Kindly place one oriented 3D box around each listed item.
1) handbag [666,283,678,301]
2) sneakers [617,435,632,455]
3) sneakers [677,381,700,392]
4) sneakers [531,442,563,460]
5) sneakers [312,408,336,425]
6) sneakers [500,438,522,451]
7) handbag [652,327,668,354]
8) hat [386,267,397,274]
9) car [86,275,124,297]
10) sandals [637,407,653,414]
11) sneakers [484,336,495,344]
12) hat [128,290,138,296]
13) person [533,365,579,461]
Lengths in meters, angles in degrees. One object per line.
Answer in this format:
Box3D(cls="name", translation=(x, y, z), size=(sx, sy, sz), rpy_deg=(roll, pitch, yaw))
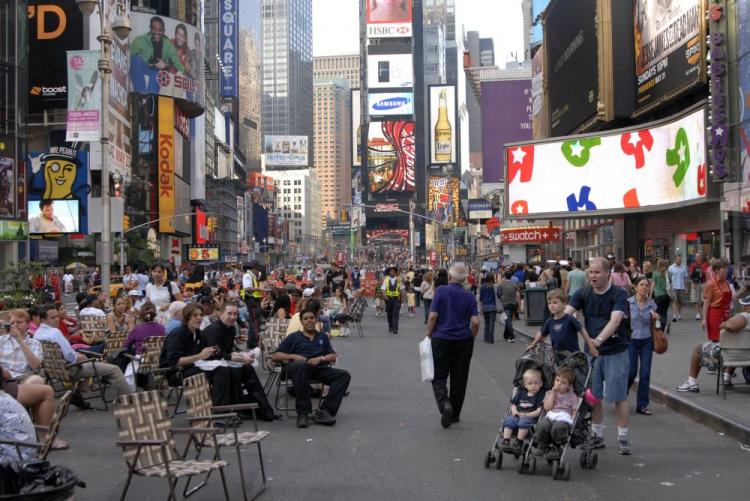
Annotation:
Box3D(cls="handbag", translation=(9.944, 1.417, 28.994), size=(0.523, 0.826, 0.453), rpy_deg=(-1, 3, 17))
Box3D(cls="sneakers", translation=(4.413, 3.471, 15.160), size=(0.139, 0.172, 0.409), rpy_deg=(-2, 3, 9))
Box3D(cls="sneakers", translation=(6.687, 2.925, 18.377), size=(0.445, 0.250, 0.221), rpy_deg=(1, -4, 10))
Box3D(cls="sneakers", translation=(2.919, 3.438, 14.538), size=(0.261, 0.245, 0.518), rpy_deg=(-4, -25, 13))
Box3D(cls="sneakers", translation=(-1.022, 3.291, 16.975), size=(0.494, 0.255, 0.219), rpy_deg=(5, 14, 39))
Box3D(cls="sneakers", translation=(2.313, 3.334, 14.634), size=(0.355, 0.177, 0.150), rpy_deg=(1, 2, -44))
Box3D(cls="handbag", translation=(5.960, 1.909, 17.986), size=(0.279, 0.622, 0.972), rpy_deg=(1, 1, 19))
Box3D(cls="hat", translation=(0.600, 0.734, 30.660), size=(0.229, 0.305, 0.298), rpy_deg=(-1, -6, 3))
Box3D(cls="car", translation=(-10.934, 1.432, 34.741), size=(1.139, 0.985, 2.016), rpy_deg=(-1, -11, 11))
Box3D(cls="sandals", translation=(5.492, 3.310, 17.520), size=(0.302, 0.111, 0.226), rpy_deg=(0, 1, 12))
Box3D(cls="sneakers", translation=(3.682, 2.911, 27.721), size=(0.297, 0.188, 0.233), rpy_deg=(2, 8, -20))
Box3D(cls="hat", translation=(-6.977, 1.234, 24.688), size=(0.396, 0.132, 0.396), rpy_deg=(3, -8, -31))
Box3D(cls="person", translation=(3.103, 2.760, 14.622), size=(0.694, 1.462, 0.532), rpy_deg=(0, 1, 16))
